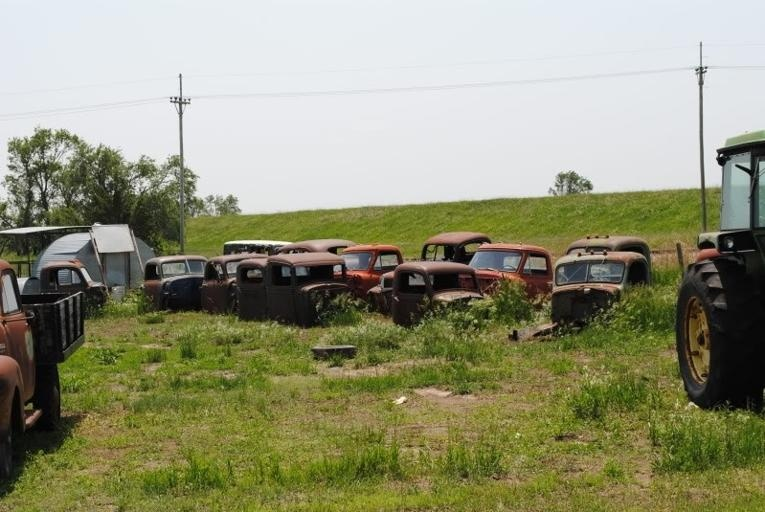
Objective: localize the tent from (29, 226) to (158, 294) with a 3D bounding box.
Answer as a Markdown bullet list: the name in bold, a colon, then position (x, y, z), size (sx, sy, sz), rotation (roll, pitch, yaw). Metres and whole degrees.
- **tent**: position (-9.317, -0.011, 30.678), size (2.749, 1.801, 2.793), rotation (-1, 0, 28)
